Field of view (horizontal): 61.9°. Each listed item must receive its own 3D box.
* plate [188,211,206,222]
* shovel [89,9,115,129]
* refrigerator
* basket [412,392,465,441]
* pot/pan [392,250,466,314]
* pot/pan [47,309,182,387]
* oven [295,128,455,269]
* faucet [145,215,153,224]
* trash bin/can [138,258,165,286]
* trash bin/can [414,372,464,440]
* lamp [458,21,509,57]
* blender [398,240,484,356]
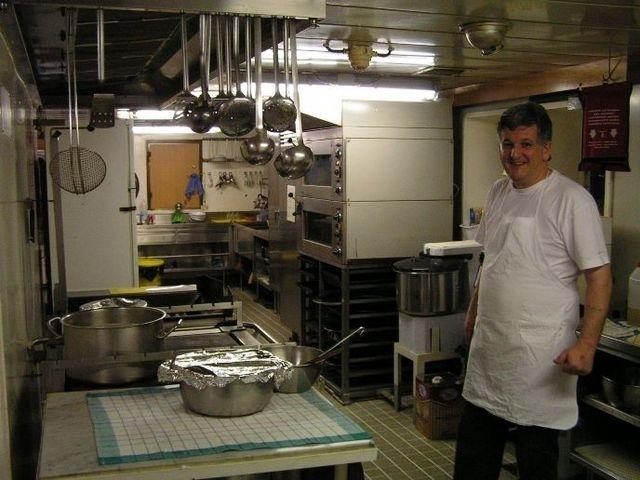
[{"bbox_3d":[-1.978,-0.396,8.615,0.275,0.139,0.420,-3,13,-15],"label":"plate"},{"bbox_3d":[-1.172,-0.908,2.844,0.142,0.653,0.052,-6,31,-25],"label":"shovel"},{"bbox_3d":[-1.975,-0.279,4.694,0.770,1.541,0.709,-6,14,-27],"label":"refrigerator"},{"bbox_3d":[0.931,1.278,4.023,0.392,0.350,0.385,2,-10,-17],"label":"basket"},{"bbox_3d":[0.894,0.383,4.226,0.511,0.399,0.500,0,-4,-12],"label":"pot/pan"},{"bbox_3d":[-0.959,0.480,2.489,0.474,0.294,0.388,-3,13,-17],"label":"pot/pan"},{"bbox_3d":[0.408,-0.467,5.201,1.191,1.172,1.365,-2,6,-15],"label":"oven"},{"bbox_3d":[-2.692,-0.338,8.414,0.121,0.144,0.102,2,-5,-23],"label":"faucet"},{"bbox_3d":[-2.151,0.375,6.668,0.321,0.330,0.327,5,6,28],"label":"trash bin/can"},{"bbox_3d":[0.896,1.251,3.996,0.363,0.386,0.378,1,-1,25],"label":"trash bin/can"},{"bbox_3d":[0.929,-1.120,2.990,0.246,0.141,0.225,-1,1,36],"label":"lamp"},{"bbox_3d":[0.964,0.436,4.274,0.790,0.821,0.523,0,0,-15],"label":"blender"}]
